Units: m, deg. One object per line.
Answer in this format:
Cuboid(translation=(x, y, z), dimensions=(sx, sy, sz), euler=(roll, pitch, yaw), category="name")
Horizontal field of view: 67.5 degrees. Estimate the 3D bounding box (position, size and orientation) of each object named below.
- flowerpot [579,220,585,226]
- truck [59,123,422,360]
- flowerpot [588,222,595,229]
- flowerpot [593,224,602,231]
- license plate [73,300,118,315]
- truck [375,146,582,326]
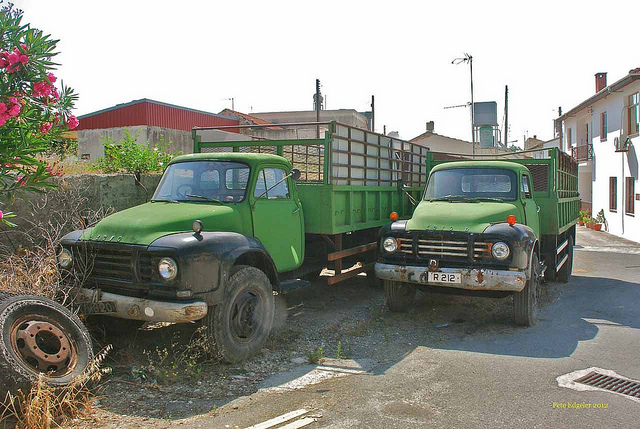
Cuboid(translation=(14.769, 0.475, 27.003), dimensions=(0.368, 0.235, 0.383), euler=(-2, -2, 30), category="flowerpot")
Cuboid(translation=(-0.878, 0.032, 9.514), dimensions=(2.973, 2.999, 7.759), euler=(-1, 0, 31), category="truck")
Cuboid(translation=(14.599, 0.597, 25.656), dimensions=(0.260, 0.466, 0.492), euler=(-3, 1, 17), category="flowerpot")
Cuboid(translation=(14.362, 0.649, 24.778), dimensions=(0.325, 0.324, 0.418), euler=(-4, 8, -32), category="flowerpot")
Cuboid(translation=(-2.972, 1.218, 6.286), dimensions=(0.742, 0.245, 0.095), euler=(3, 7, 19), category="license plate")
Cuboid(translation=(3.619, 0.234, 9.962), dimensions=(2.487, 2.208, 5.592), euler=(-1, 0, 28), category="truck")
